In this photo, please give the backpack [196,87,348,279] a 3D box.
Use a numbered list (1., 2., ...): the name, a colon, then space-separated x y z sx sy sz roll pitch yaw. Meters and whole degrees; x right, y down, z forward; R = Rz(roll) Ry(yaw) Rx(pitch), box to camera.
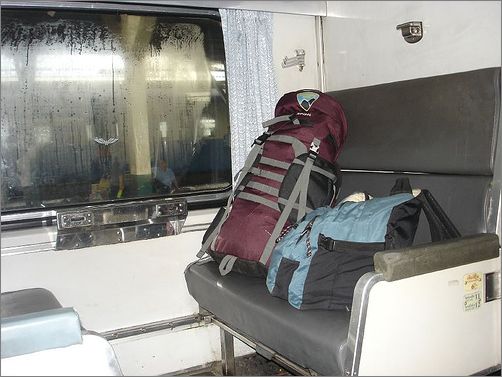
1. backpack: 0.219 -0.117 2.243 0.709 1.191 0.380 21 -7 42
